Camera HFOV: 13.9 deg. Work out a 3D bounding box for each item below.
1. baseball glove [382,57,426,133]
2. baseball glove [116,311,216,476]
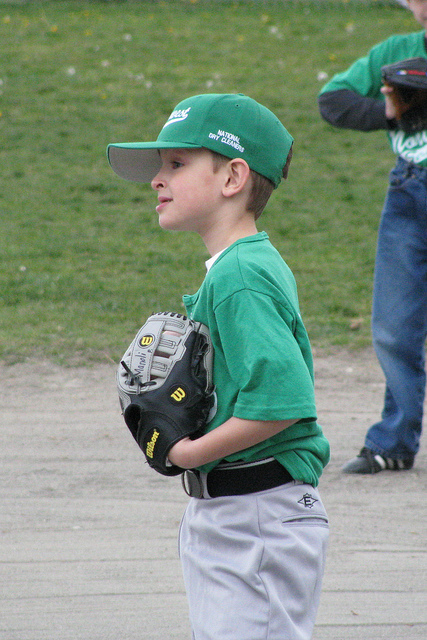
[{"bbox_3d":[0.907,-1.032,7.995,0.225,0.317,0.138,6,26,26],"label":"baseball glove"},{"bbox_3d":[-0.165,0.257,6.526,0.439,0.548,0.275,3,-3,42],"label":"baseball glove"}]
